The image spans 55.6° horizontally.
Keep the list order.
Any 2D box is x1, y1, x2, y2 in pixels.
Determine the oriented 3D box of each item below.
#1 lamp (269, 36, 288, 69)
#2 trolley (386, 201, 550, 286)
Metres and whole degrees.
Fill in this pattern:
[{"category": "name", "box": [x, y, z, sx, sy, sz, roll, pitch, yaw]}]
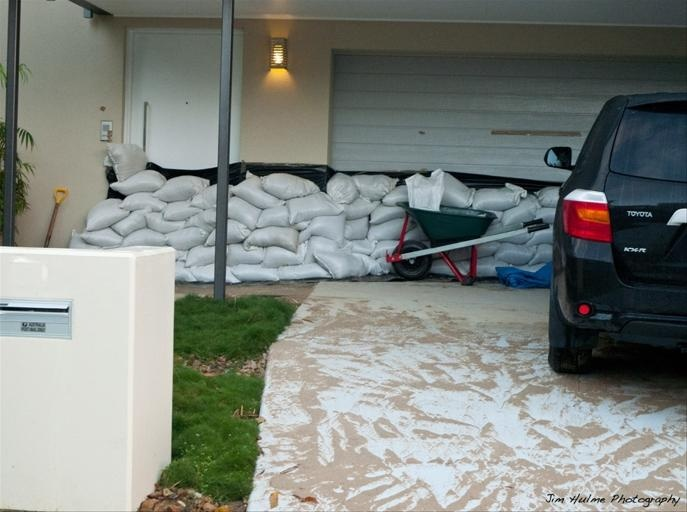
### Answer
[{"category": "lamp", "box": [-0.863, -2.674, 8.612, 0.236, 0.394, 0.136, 1, 8, -7]}, {"category": "trolley", "box": [1.542, -0.120, 7.343, 2.042, 0.967, 0.803, 1, 3, 7]}]
